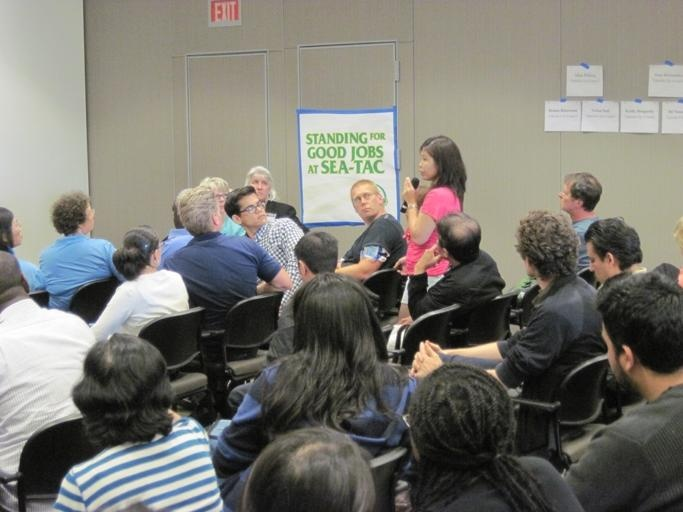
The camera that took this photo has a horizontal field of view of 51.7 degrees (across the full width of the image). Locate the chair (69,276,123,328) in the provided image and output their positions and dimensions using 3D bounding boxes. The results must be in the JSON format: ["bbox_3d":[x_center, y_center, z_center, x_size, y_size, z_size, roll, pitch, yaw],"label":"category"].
[{"bbox_3d":[-1.783,0.269,5.185,0.305,0.521,0.312,16,17,30],"label":"chair"}]

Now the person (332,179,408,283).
[{"bbox_3d":[0.180,-0.184,5.670,0.522,0.796,0.781,-11,-2,-8],"label":"person"}]

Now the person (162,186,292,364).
[{"bbox_3d":[-0.796,-0.059,4.932,0.742,0.913,1.595,-11,-34,-5],"label":"person"}]

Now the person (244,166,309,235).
[{"bbox_3d":[-0.653,-0.553,6.956,0.407,0.236,0.691,-35,45,-28],"label":"person"}]

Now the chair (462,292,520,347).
[{"bbox_3d":[0.955,0.414,4.503,0.275,0.470,0.334,2,6,14],"label":"chair"}]

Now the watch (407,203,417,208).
[{"bbox_3d":[0.522,-0.370,5.312,0.049,0.023,0.033,-6,-3,30],"label":"watch"}]

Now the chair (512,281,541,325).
[{"bbox_3d":[1.239,0.330,4.727,0.100,0.360,0.225,11,6,-11],"label":"chair"}]

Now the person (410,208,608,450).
[{"bbox_3d":[0.928,0.625,3.743,0.864,1.691,0.502,9,19,37],"label":"person"}]
